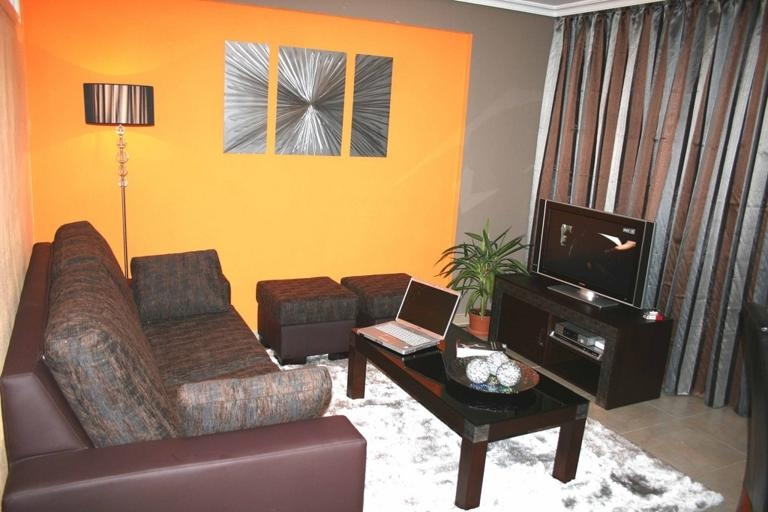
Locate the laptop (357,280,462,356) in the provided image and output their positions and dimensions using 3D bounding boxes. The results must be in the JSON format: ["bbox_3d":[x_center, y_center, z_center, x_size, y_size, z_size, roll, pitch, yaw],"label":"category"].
[{"bbox_3d":[0.205,0.467,3.901,0.587,0.366,0.585,-8,18,-37],"label":"laptop"}]

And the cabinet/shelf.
[{"bbox_3d":[1.654,0.683,4.909,0.583,0.663,1.356,-5,17,-29],"label":"cabinet/shelf"}]

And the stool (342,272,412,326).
[{"bbox_3d":[-0.076,0.340,4.880,0.500,0.323,0.490,-5,15,-20],"label":"stool"}]

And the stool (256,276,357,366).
[{"bbox_3d":[-0.710,0.457,4.712,0.744,0.571,0.728,-4,15,-21],"label":"stool"}]

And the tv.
[{"bbox_3d":[1.834,-0.035,4.764,0.297,0.798,1.102,-13,23,-35],"label":"tv"}]

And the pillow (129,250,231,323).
[{"bbox_3d":[-1.777,0.142,4.357,0.629,0.360,0.807,-7,4,35],"label":"pillow"}]

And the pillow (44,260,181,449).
[{"bbox_3d":[-1.590,0.337,3.025,0.492,0.917,1.516,-7,36,-27],"label":"pillow"}]
